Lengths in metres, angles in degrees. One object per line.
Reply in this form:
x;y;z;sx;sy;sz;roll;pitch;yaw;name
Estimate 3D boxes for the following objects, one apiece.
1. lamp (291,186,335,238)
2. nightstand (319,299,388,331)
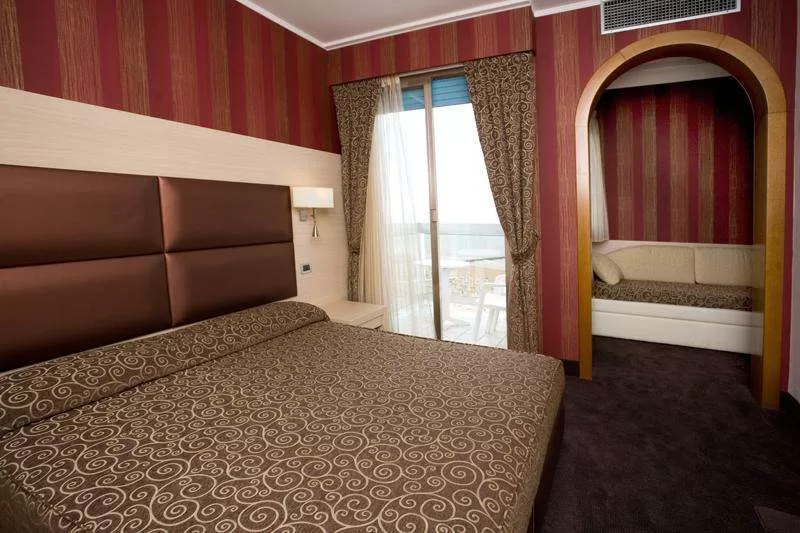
-0.867;-0.542;4.782;0.184;0.617;0.511;4;7;43;lamp
-0.433;0.446;4.762;0.352;0.217;0.350;4;10;27;nightstand
